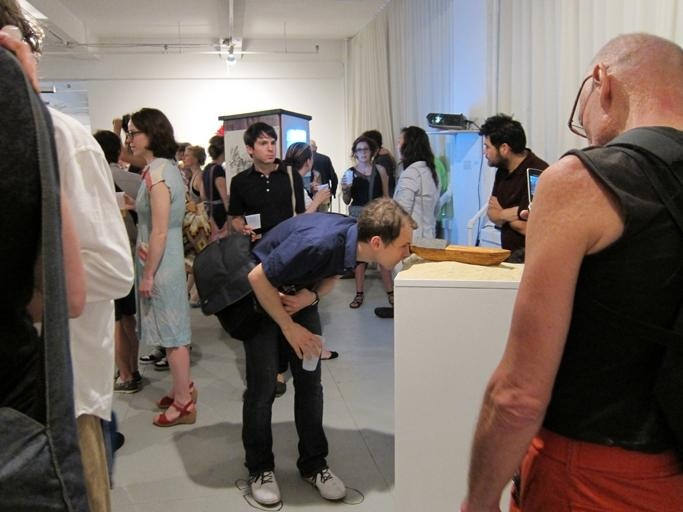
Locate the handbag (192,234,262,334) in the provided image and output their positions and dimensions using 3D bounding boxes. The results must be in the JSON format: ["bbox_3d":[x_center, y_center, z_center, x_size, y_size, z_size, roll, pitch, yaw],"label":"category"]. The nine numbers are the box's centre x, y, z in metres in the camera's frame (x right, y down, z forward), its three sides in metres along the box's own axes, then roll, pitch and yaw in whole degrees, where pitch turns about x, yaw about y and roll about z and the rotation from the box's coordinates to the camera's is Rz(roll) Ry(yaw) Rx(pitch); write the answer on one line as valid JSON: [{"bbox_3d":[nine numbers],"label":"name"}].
[{"bbox_3d":[-0.538,0.150,2.455,0.287,0.475,0.422,-4,9,-17],"label":"handbag"}]

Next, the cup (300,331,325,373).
[{"bbox_3d":[-0.132,0.457,2.420,0.118,0.186,0.114,-1,9,0],"label":"cup"}]

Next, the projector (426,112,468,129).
[{"bbox_3d":[1.032,-1.339,5.245,0.272,0.110,0.214,0,5,-22],"label":"projector"}]
